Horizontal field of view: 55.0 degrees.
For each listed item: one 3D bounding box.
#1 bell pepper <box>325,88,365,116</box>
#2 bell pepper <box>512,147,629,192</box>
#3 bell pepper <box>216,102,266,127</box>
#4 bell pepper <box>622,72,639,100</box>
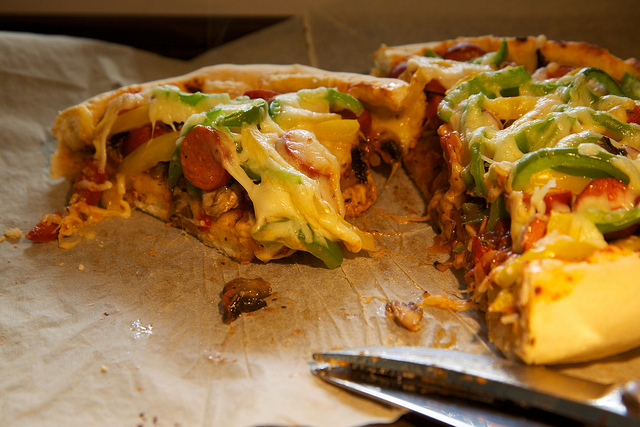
[{"bbox_3d":[0.131,-0.632,3.474,0.281,0.098,0.118,14,85,20],"label":"bell pepper"},{"bbox_3d":[1.212,-0.207,2.980,0.530,0.212,0.150,6,45,-6],"label":"bell pepper"},{"bbox_3d":[-0.409,-0.505,3.270,0.296,0.104,0.091,-17,75,-18],"label":"bell pepper"},{"bbox_3d":[1.756,-0.714,3.463,0.105,0.054,0.231,24,46,12],"label":"bell pepper"}]
